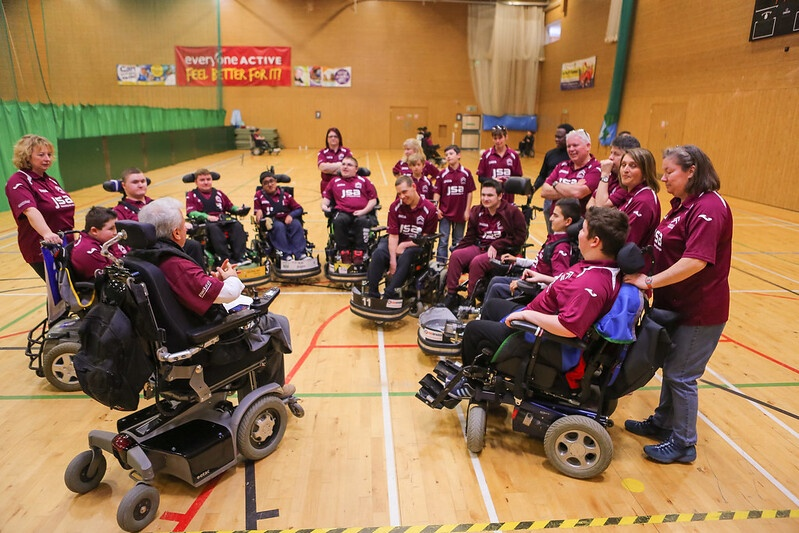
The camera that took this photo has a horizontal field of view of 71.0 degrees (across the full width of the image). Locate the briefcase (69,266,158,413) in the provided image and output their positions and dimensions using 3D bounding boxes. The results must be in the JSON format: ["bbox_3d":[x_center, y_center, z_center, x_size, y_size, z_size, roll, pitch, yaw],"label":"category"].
[{"bbox_3d":[-2.677,0.767,5.202,0.619,1.176,0.458,-19,26,-34],"label":"briefcase"}]

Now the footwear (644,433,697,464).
[{"bbox_3d":[2.851,1.941,6.065,0.622,0.320,0.229,2,3,4],"label":"footwear"}]

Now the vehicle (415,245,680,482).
[{"bbox_3d":[1.536,1.201,6.679,2.726,2.207,1.775,2,8,6],"label":"vehicle"}]

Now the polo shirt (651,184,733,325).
[{"bbox_3d":[2.953,-0.094,5.705,0.787,1.562,1.335,0,8,15],"label":"polo shirt"}]

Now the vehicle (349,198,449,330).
[{"bbox_3d":[-0.218,-0.034,8.601,1.230,1.917,1.925,8,16,26],"label":"vehicle"}]

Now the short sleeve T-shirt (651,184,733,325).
[{"bbox_3d":[2.953,-0.094,5.705,0.788,1.562,1.335,0,8,15],"label":"short sleeve T-shirt"}]

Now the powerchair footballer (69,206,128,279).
[{"bbox_3d":[-3.615,-0.169,6.690,0.600,0.957,0.628,1,0,23],"label":"powerchair footballer"}]

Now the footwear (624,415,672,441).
[{"bbox_3d":[2.734,1.797,6.268,0.501,0.235,0.188,12,7,17],"label":"footwear"}]

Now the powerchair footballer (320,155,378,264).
[{"bbox_3d":[-0.816,-0.957,9.397,1.021,1.763,0.983,-3,7,-18],"label":"powerchair footballer"}]

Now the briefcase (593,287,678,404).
[{"bbox_3d":[2.396,0.787,5.640,0.882,1.218,0.425,-15,24,-27],"label":"briefcase"}]

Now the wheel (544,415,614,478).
[{"bbox_3d":[1.819,1.833,5.721,0.447,0.447,0.166,52,30,12],"label":"wheel"}]
